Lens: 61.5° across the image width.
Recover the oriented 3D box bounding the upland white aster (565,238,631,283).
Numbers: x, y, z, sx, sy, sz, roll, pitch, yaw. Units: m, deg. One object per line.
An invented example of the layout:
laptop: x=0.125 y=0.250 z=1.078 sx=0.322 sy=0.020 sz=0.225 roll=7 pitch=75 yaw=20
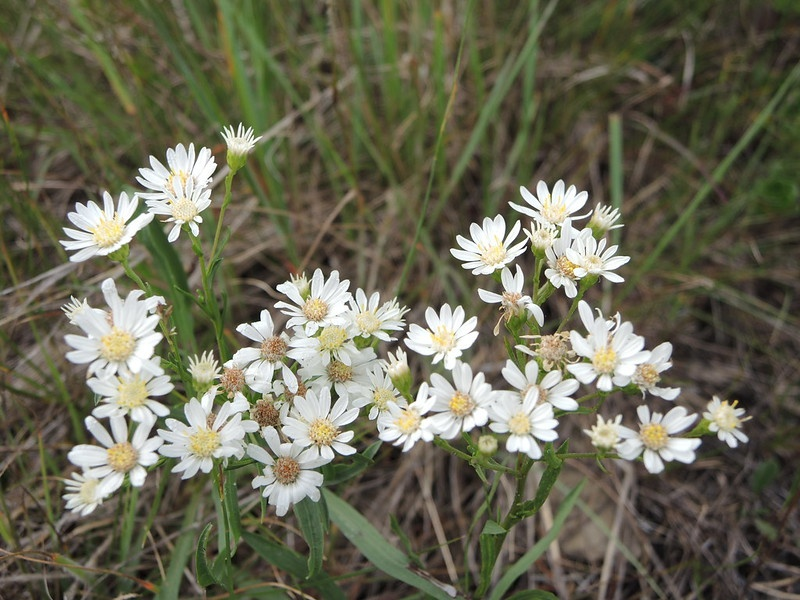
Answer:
upland white aster: x=1.019 y=-0.235 z=3.553 sx=0.227 sy=0.275 sz=0.100 roll=5 pitch=76 yaw=11

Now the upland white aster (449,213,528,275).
upland white aster: x=0.518 y=-0.301 z=3.699 sx=0.347 sy=0.405 sz=0.183 roll=-2 pitch=75 yaw=-3

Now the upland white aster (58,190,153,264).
upland white aster: x=-1.603 y=-0.425 z=3.657 sx=0.393 sy=0.432 sz=0.194 roll=-22 pitch=86 yaw=14

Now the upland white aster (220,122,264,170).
upland white aster: x=-0.890 y=-0.757 z=3.681 sx=0.167 sy=0.188 sz=0.240 roll=-1 pitch=83 yaw=35
